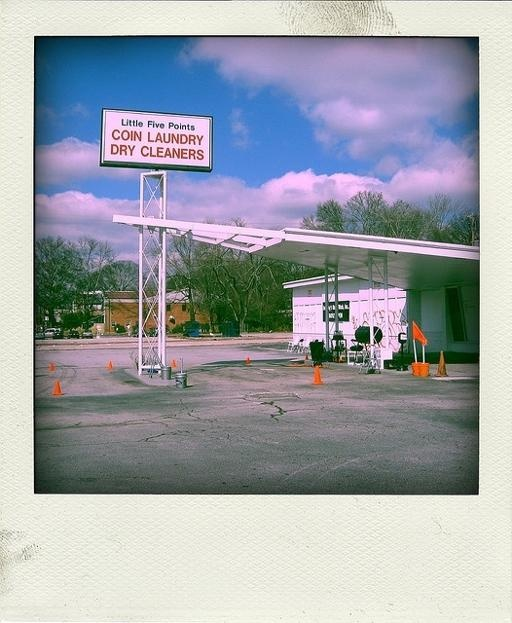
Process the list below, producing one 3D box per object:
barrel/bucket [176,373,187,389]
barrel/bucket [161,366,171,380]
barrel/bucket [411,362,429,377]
[{"bbox_3d":[-1.691,1.536,15.378,0.319,0.290,0.306,0,-7,0],"label":"barrel/bucket"},{"bbox_3d":[-2.223,1.569,17.422,0.280,0.290,0.276,-1,-7,0],"label":"barrel/bucket"},{"bbox_3d":[4.278,1.501,17.919,0.306,0.274,0.452,1,2,-5],"label":"barrel/bucket"}]
